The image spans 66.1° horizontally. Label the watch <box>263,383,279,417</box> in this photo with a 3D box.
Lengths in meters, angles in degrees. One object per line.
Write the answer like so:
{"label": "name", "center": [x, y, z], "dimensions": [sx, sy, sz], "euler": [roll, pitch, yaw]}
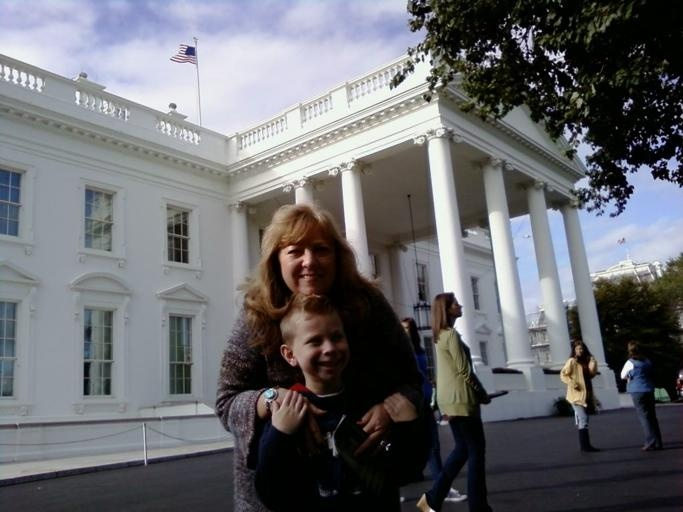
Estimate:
{"label": "watch", "center": [-0.314, 0.654, 2.358], "dimensions": [0.065, 0.097, 0.032], "euler": [-3, -11, 41]}

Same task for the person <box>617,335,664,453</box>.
{"label": "person", "center": [5.293, 2.453, 9.258], "dimensions": [0.703, 1.770, 1.558], "euler": [3, -4, 31]}

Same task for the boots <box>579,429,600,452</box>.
{"label": "boots", "center": [4.174, 3.103, 8.869], "dimensions": [0.319, 0.388, 0.418], "euler": [4, -3, 28]}
